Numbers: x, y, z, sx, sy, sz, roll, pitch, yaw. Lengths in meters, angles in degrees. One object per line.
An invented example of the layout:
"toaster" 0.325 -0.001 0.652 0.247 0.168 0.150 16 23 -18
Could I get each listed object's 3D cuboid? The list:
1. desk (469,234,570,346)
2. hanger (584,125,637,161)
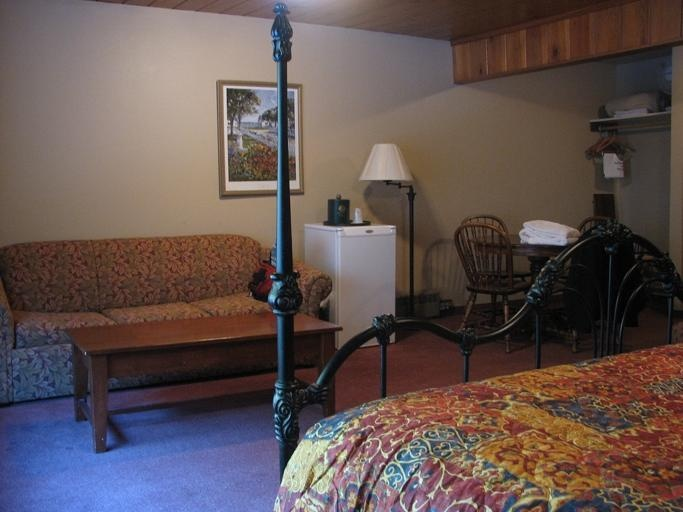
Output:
"desk" 1.389 0.177 4.834 0.682 1.052 0.564 -15 14 -38
"hanger" 3.157 -1.270 6.367 0.455 0.263 0.590 1 7 23
